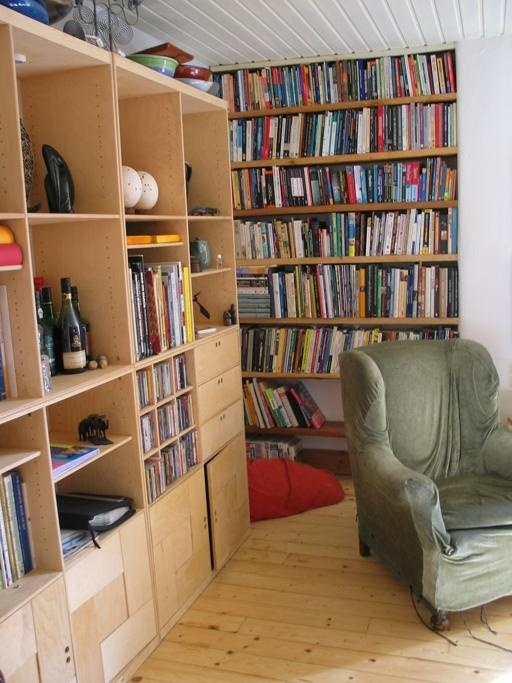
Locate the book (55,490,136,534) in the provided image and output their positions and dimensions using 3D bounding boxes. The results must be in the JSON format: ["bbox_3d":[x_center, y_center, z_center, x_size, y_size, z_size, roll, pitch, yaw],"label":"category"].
[{"bbox_3d":[-0.513,0.520,1.683,0.137,0.039,0.136,3,3,6],"label":"book"}]

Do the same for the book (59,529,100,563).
[{"bbox_3d":[-0.504,0.582,1.571,0.142,0.032,0.129,1,2,3],"label":"book"}]

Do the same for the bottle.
[{"bbox_3d":[-0.589,-0.051,1.688,0.137,0.293,0.289,-5,5,-13],"label":"bottle"}]
